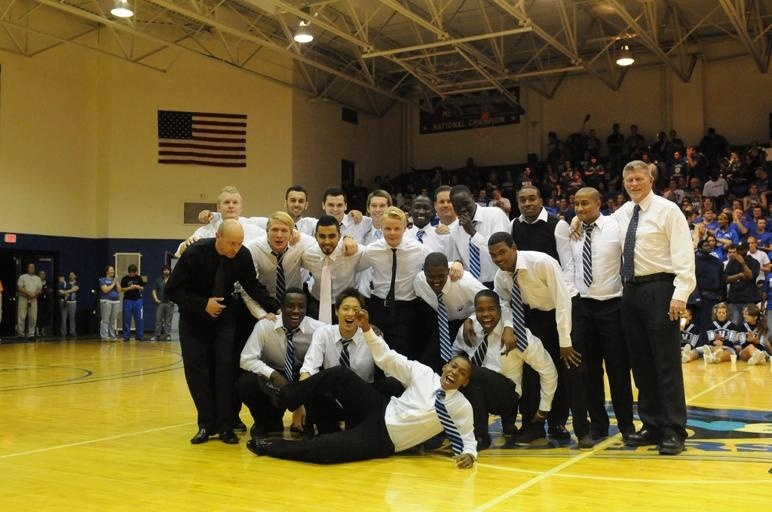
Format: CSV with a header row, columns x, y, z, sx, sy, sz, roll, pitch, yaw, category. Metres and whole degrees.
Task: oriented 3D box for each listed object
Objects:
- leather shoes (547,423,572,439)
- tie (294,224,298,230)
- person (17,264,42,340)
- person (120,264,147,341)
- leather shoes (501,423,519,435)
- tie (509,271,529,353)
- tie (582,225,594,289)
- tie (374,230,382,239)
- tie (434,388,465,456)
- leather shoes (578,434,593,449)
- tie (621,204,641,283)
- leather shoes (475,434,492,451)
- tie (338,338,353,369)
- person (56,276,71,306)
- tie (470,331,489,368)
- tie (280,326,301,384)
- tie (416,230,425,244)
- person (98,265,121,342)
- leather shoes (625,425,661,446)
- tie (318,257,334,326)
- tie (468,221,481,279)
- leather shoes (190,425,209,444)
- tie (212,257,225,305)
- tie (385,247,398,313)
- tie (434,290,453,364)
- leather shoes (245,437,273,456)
x,y,z,sx,sy,sz,roll,pitch,yaw,category
2.030,2.072,8.287,0.270,0.142,0.212,0,5,11,leather shoes
-1.198,-0.384,9.384,0.044,0.072,0.135,0,12,-6,tie
-9.500,1.210,18.735,0.645,1.911,0.508,-4,5,-29,person
-6.863,1.253,19.038,0.548,2.010,1.514,-3,5,-19,person
1.461,2.069,8.352,0.176,0.162,0.160,3,-21,-7,leather shoes
1.497,0.644,8.008,0.150,0.910,0.043,-9,-25,17,tie
2.318,0.000,8.106,0.105,0.705,0.150,0,5,16,tie
-0.114,-0.285,9.628,0.106,0.106,0.029,-2,-4,43,tie
0.663,1.808,7.590,0.213,0.767,0.139,-21,-23,5,tie
2.234,2.082,7.884,0.212,0.142,0.158,-2,5,-13,leather shoes
2.760,-0.132,7.939,0.152,0.885,0.230,2,6,33,tie
1.103,2.103,7.943,0.129,0.188,0.200,-1,2,12,leather shoes
-0.472,1.123,8.087,0.145,0.326,0.106,-1,5,-5,tie
-8.940,0.960,19.525,0.277,0.755,0.498,-4,5,-29,person
1.087,1.122,8.156,0.101,0.567,0.067,23,-20,17,tie
-1.116,1.167,8.244,0.174,0.572,0.251,-2,5,-8,tie
0.440,-0.248,9.147,0.109,0.143,0.183,-1,5,1,tie
-7.373,1.263,18.825,0.531,1.850,1.257,-3,5,-21,person
2.883,2.058,8.016,0.460,0.191,0.169,2,-4,-1,leather shoes
-0.737,0.429,8.521,0.159,0.785,0.201,-1,5,-6,tie
1.079,-0.007,8.745,0.136,0.599,0.151,3,6,41,tie
-2.151,2.081,8.133,0.214,0.165,0.139,-2,5,-16,leather shoes
-1.942,0.266,8.183,0.149,0.459,0.109,-4,5,-28,tie
0.052,0.308,8.549,0.147,0.794,0.084,-1,5,4,tie
0.673,0.874,8.306,0.186,0.779,0.081,-13,-18,18,tie
-1.391,2.109,7.753,0.357,0.127,0.149,6,-16,-31,leather shoes
